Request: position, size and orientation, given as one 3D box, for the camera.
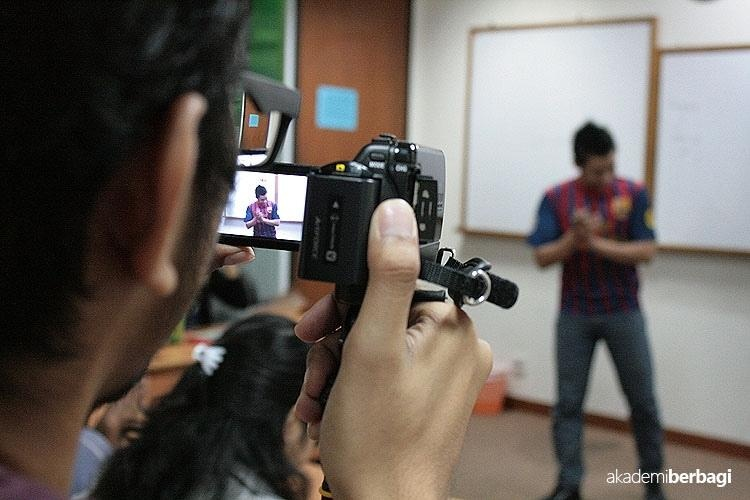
[{"bbox_3d":[-0.034,-0.035,0.660,0.191,0.197,0.109,4,8,15],"label":"camera"}]
